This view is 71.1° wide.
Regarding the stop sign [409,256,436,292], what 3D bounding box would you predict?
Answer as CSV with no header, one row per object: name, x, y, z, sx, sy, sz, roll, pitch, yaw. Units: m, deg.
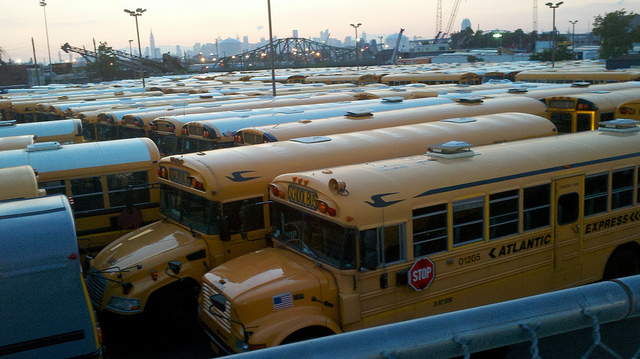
stop sign,1.826,1.671,8.093,0.760,0.624,0.096,-8,18,-29

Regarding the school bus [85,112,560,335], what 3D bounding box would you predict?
school bus,2.307,0.152,13.164,16.386,3.662,3.996,-5,13,-23

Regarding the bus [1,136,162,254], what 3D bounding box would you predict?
bus,-6.150,0.366,12.635,4.522,2.792,3.175,-12,12,-18

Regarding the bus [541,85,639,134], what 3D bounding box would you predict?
bus,11.346,-3.047,18.007,5.322,1.343,1.966,-12,3,-35

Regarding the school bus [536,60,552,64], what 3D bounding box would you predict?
school bus,41.400,-21.649,82.834,1.988,0.176,16.428,4,17,24

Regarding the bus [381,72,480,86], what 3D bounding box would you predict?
bus,10.167,-9.587,43.334,9.015,1.117,4.483,9,19,37
